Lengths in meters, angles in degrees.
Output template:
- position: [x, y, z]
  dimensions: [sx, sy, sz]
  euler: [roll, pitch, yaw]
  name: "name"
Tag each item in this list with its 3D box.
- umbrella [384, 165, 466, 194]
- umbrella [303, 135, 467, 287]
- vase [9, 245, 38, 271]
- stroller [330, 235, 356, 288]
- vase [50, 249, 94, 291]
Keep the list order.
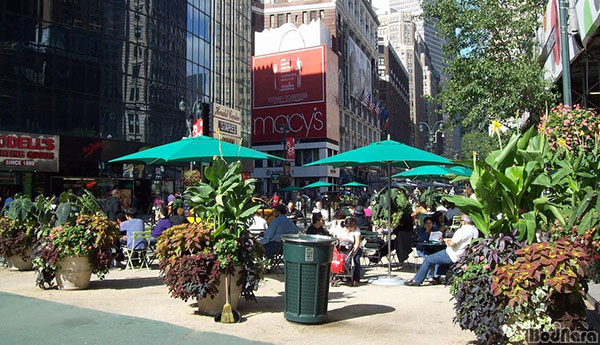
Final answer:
- position: [6.107, 0.091, 23.819]
  dimensions: [4.542, 1.657, 1.701]
  euler: [-1, 0, -2]
  name: "umbrella"
- position: [3.300, 0.543, 18.579]
  dimensions: [4.854, 4.373, 4.874]
  euler: [3, -3, -16]
  name: "umbrella"
- position: [-9.730, 3.052, 18.395]
  dimensions: [1.118, 0.879, 1.065]
  euler: [-2, -5, 9]
  name: "vase"
- position: [1.375, 2.799, 16.532]
  dimensions: [0.651, 1.931, 0.800]
  euler: [0, -1, 25]
  name: "stroller"
- position: [-6.817, 3.020, 15.572]
  dimensions: [0.995, 0.837, 1.091]
  euler: [1, -12, -10]
  name: "vase"
